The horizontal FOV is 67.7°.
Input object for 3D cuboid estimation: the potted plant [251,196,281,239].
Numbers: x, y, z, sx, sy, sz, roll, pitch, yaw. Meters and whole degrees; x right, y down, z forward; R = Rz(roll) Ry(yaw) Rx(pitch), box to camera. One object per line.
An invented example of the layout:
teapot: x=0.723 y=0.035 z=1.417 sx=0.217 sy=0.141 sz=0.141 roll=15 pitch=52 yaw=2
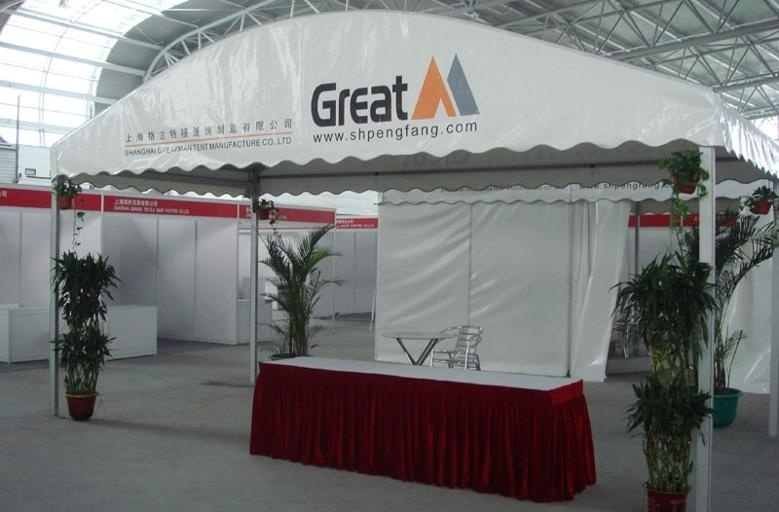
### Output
potted plant: x=-1.938 y=-0.679 z=8.860 sx=0.418 sy=0.268 sz=0.599 roll=10 pitch=-27 yaw=12

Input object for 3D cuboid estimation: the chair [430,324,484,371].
chair: x=1.036 y=1.484 z=8.471 sx=0.664 sy=0.860 sz=0.711 roll=7 pitch=-11 yaw=19

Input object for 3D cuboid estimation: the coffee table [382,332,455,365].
coffee table: x=0.406 y=1.360 z=8.045 sx=0.901 sy=0.509 sz=0.908 roll=9 pitch=-11 yaw=-35

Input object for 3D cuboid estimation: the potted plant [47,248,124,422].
potted plant: x=-3.745 y=0.984 z=7.147 sx=0.756 sy=2.088 sz=0.492 roll=0 pitch=1 yaw=-13
